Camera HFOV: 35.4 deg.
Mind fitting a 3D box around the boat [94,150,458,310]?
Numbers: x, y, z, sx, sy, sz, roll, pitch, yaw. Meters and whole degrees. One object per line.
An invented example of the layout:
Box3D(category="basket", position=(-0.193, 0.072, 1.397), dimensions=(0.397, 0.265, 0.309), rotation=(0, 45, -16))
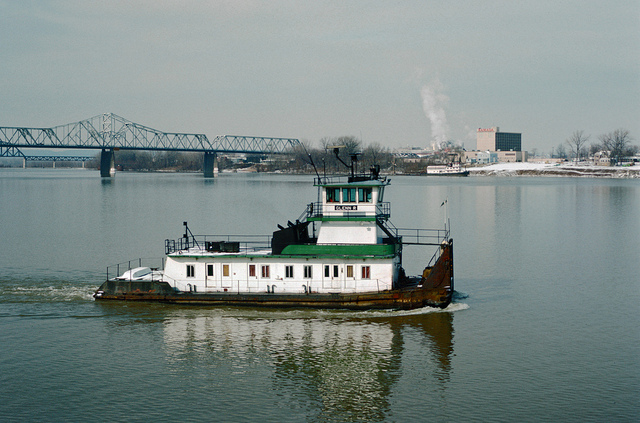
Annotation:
Box3D(category="boat", position=(-8.427, 1.427, 81.137), dimensions=(37.666, 15.273, 11.433), rotation=(-1, 1, 9))
